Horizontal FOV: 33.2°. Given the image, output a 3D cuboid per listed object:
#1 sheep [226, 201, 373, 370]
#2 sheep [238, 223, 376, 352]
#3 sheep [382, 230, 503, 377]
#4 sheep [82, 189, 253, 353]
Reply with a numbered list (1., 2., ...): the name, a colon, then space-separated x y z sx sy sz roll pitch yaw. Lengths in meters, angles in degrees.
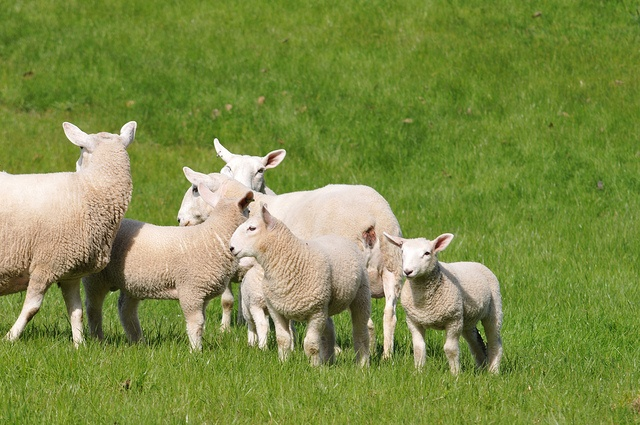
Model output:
1. sheep: -0.204 1.316 18.221 1.269 2.988 2.873 -1 1 40
2. sheep: -0.187 1.385 18.209 1.263 2.745 2.841 -1 -2 41
3. sheep: 2.287 1.652 18.608 1.298 2.693 2.723 0 0 40
4. sheep: -2.617 1.011 18.816 3.259 3.064 1.459 2 15 10
